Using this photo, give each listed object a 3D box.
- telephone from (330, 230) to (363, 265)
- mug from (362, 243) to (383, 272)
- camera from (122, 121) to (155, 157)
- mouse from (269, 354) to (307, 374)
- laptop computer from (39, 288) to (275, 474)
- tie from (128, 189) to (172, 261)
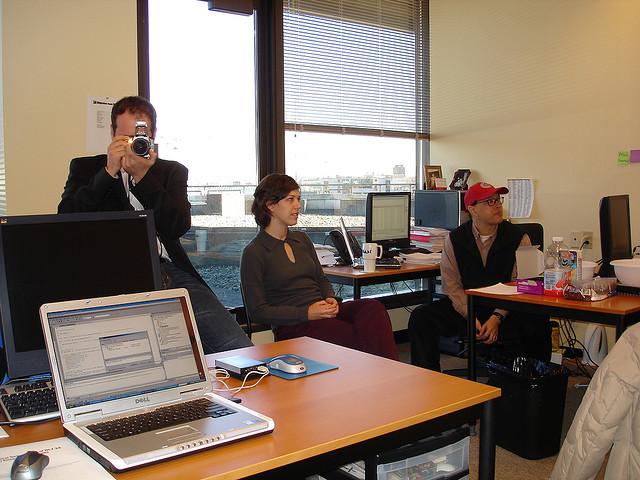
[{"bbox_3d":[0.195,0.051,3.871,0.104,0.289,0.222,-22,-2,9],"label":"telephone"},{"bbox_3d":[0.364,0.129,3.601,0.224,0.240,0.152,2,0,-3],"label":"mug"},{"bbox_3d":[-0.744,-0.416,1.969,0.107,0.140,0.086,-5,14,-10],"label":"camera"},{"bbox_3d":[-0.118,0.416,1.584,0.097,0.031,0.057,4,2,39],"label":"mouse"},{"bbox_3d":[-0.447,0.248,1.191,0.462,0.325,0.454,-4,8,-41],"label":"laptop computer"},{"bbox_3d":[-0.673,-0.075,1.832,0.054,0.329,0.099,-27,1,39],"label":"tie"}]
